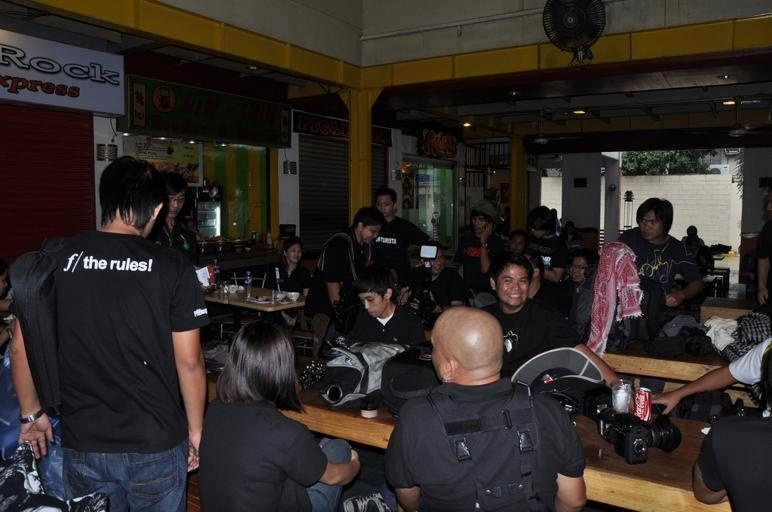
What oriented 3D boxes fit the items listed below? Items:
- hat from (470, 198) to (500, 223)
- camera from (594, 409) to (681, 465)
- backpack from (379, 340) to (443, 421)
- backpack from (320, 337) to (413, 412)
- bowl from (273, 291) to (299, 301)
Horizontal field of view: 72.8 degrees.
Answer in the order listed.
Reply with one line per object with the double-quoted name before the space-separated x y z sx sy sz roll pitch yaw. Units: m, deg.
"hat" 1.432 -0.665 7.314 0.426 0.216 0.323 22 -11 -40
"camera" 1.637 1.114 3.348 0.322 0.176 0.384 -1 6 -20
"backpack" 0.216 0.812 3.613 0.357 0.190 0.494 -18 30 38
"backpack" -0.161 0.842 3.742 0.551 0.429 0.233 -2 13 0
"bowl" -1.296 0.514 6.728 0.215 0.078 0.152 -3 -2 17
